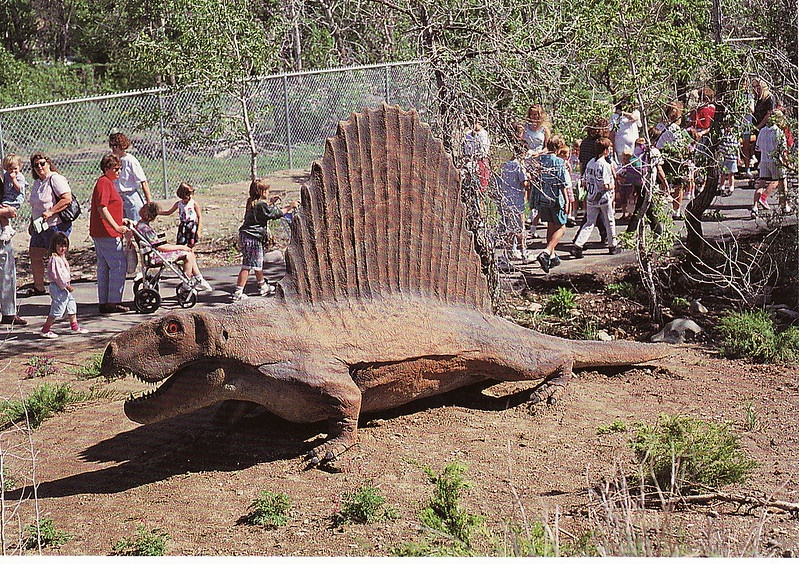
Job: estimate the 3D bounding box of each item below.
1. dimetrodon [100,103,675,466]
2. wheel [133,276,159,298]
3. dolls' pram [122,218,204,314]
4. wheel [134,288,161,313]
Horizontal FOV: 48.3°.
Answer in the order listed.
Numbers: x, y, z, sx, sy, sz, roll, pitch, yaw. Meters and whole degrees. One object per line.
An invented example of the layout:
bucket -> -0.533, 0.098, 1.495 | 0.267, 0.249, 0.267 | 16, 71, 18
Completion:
dimetrodon -> 0.039, -0.134, 7.659 | 4.776, 2.752, 1.670 | -5, 5, -19
wheel -> -2.786, 0.049, 9.891 | 0.234, 0.246, 0.087 | -1, -6, 0
dolls' pram -> -2.664, -0.209, 10.094 | 1.051, 1.165, 0.733 | -3, 17, -16
wheel -> -2.773, 0.208, 9.798 | 0.246, 0.259, 0.100 | 1, 8, 2
